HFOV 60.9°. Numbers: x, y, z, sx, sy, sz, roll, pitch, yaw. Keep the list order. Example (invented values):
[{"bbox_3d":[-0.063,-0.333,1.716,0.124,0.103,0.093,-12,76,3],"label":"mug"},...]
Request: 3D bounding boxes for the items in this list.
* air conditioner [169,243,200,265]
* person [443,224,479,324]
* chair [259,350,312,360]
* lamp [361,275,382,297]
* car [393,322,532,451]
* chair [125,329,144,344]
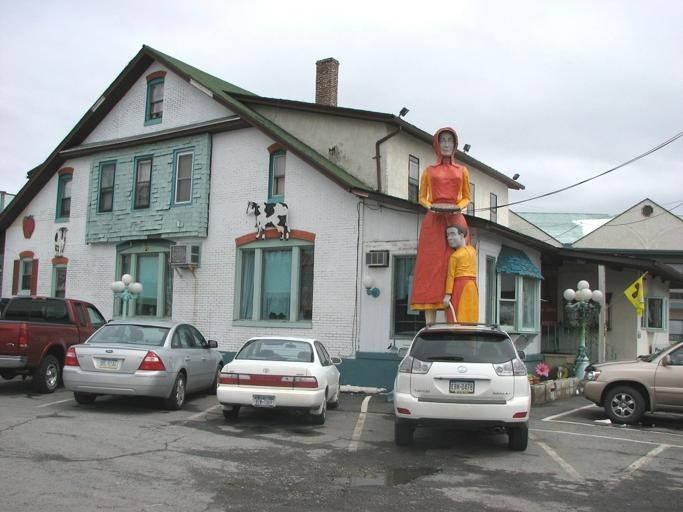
[{"bbox_3d":[-5.121,-0.056,18.823,1.045,0.891,0.614,2,0,25],"label":"air conditioner"},{"bbox_3d":[2.599,0.336,12.629,0.683,2.137,0.692,1,-4,10],"label":"person"},{"bbox_3d":[-1.054,1.868,10.982,0.753,0.134,0.182,4,5,1],"label":"chair"},{"bbox_3d":[0.761,0.825,15.637,0.534,0.575,0.337,0,-4,27],"label":"lamp"},{"bbox_3d":[1.746,1.804,8.597,1.273,1.139,2.206,0,0,10],"label":"car"},{"bbox_3d":[-4.209,1.610,11.866,0.431,0.301,0.282,0,-5,29],"label":"chair"}]
